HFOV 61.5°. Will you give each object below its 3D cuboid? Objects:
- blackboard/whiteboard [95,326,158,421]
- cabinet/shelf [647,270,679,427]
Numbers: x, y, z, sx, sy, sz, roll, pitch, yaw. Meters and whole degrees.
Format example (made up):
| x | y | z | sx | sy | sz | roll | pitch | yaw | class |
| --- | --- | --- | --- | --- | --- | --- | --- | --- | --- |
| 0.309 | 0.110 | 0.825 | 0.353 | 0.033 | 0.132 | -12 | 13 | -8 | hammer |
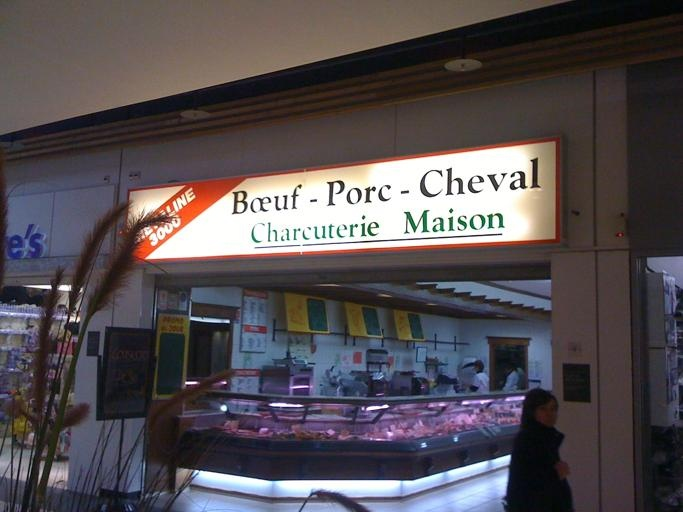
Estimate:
| x | y | z | sx | sy | sz | roll | pitch | yaw | class |
| --- | --- | --- | --- | --- | --- | --- | --- | --- | --- |
| -2.092 | 1.127 | 5.615 | 0.700 | 0.929 | 0.404 | -9 | 4 | -35 | blackboard/whiteboard |
| 2.448 | 0.685 | 4.362 | 0.170 | 1.135 | 0.479 | -5 | 4 | 40 | cabinet/shelf |
